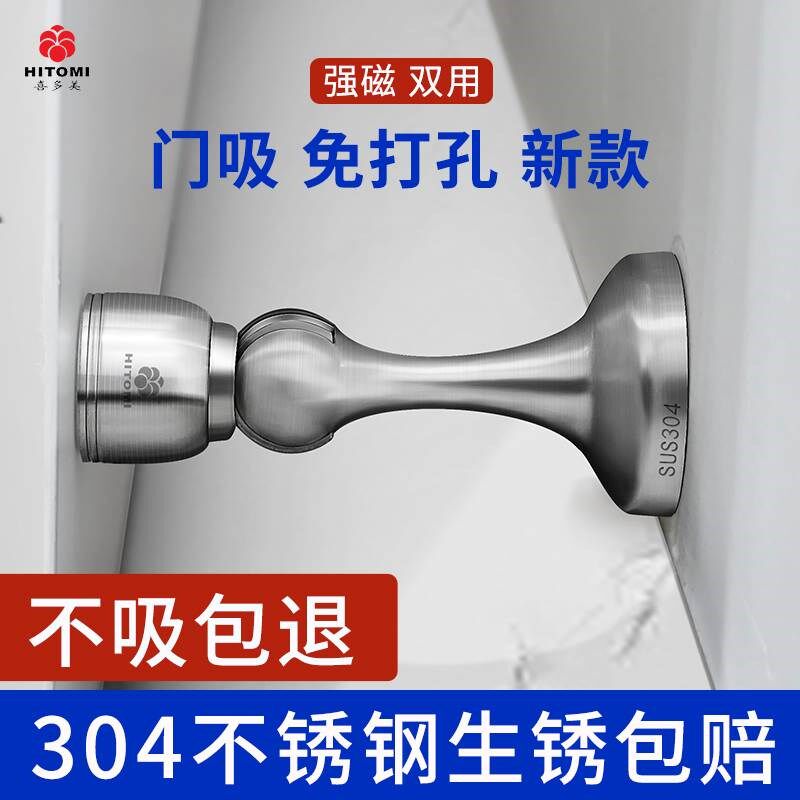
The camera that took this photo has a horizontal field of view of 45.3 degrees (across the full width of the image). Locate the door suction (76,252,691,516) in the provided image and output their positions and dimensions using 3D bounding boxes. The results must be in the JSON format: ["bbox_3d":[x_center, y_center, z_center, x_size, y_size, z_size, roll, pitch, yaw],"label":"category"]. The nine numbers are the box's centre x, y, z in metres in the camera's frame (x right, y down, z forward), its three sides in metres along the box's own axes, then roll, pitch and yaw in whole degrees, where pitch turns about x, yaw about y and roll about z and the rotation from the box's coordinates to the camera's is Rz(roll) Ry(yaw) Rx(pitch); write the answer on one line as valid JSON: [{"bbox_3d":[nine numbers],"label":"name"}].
[{"bbox_3d":[-0.009,-0.007,0.491,0.289,0.152,0.134,1,9,-1],"label":"door suction"}]
